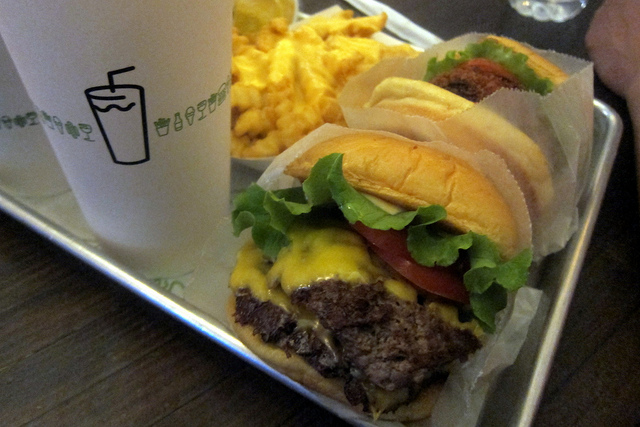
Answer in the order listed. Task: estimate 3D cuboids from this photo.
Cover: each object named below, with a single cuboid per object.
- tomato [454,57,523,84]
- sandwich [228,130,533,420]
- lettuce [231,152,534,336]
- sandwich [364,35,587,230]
[{"bbox_3d":[0.491,-0.406,1.467,0.105,0.030,0.111,26,15,0],"label":"tomato"},{"bbox_3d":[0.094,0.106,1.296,0.682,0.456,0.601,27,16,28],"label":"sandwich"},{"bbox_3d":[0.252,0.011,1.237,0.516,0.194,0.580,-17,43,-39],"label":"lettuce"},{"bbox_3d":[0.444,-0.263,1.554,0.484,0.246,0.637,21,13,-2],"label":"sandwich"}]
